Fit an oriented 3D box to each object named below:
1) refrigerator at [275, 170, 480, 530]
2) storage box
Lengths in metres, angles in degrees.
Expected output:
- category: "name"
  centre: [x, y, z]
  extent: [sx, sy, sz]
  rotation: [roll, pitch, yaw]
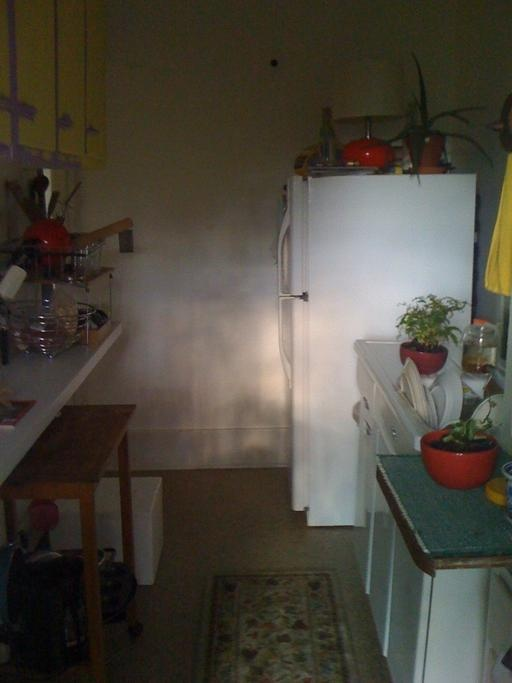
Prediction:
- category: "refrigerator"
  centre: [0.398, -0.191, 3.130]
  extent: [1.027, 2.180, 1.050]
  rotation: [1, 10, 3]
- category: "storage box"
  centre: [-0.545, 0.569, 1.968]
  extent: [0.376, 0.265, 0.403]
  rotation: [-1, 3, -4]
